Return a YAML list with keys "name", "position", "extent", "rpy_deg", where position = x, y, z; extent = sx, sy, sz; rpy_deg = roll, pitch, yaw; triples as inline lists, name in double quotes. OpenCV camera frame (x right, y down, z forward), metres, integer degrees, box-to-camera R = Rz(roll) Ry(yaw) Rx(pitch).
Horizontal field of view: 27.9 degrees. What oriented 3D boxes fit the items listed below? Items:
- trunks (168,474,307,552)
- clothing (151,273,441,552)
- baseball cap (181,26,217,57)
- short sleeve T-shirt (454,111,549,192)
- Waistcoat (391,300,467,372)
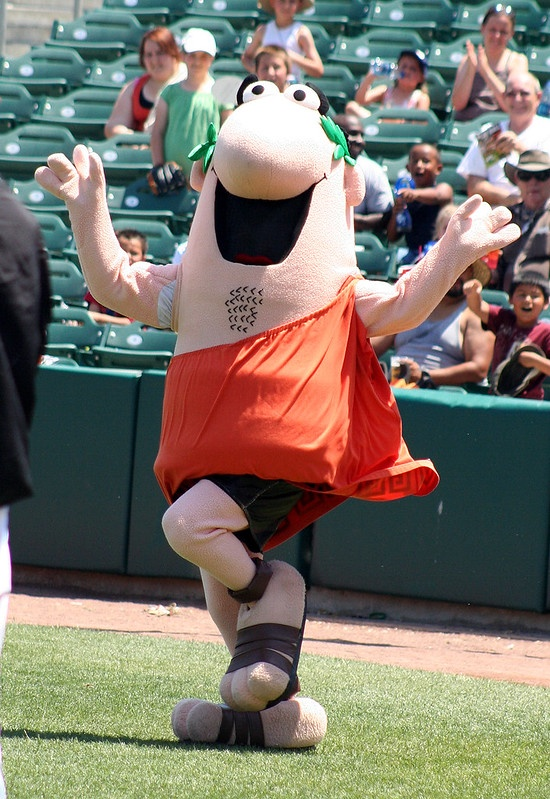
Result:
- name: "trunks"
  position: [-0.133, 0.251, 2.619]
  extent: [0.181, 0.219, 0.135]
  rpy_deg: [-30, -17, 15]
- name: "clothing"
  position: [-0.010, 0.086, 2.757]
  extent: [0.693, 0.396, 0.571]
  rpy_deg: [-19, 44, 22]
- name: "baseball cap"
  position: [-0.491, -2.299, 7.199]
  extent: [0.239, 0.162, 0.312]
  rpy_deg: [3, 15, -4]
- name: "short sleeve T-shirt"
  position: [1.331, -1.338, 6.389]
  extent: [0.475, 0.503, 0.258]
  rpy_deg: [4, 45, 10]
- name: "Waistcoat"
  position: [0.767, -0.305, 5.263]
  extent: [0.421, 0.354, 0.220]
  rpy_deg: [5, 22, 23]
